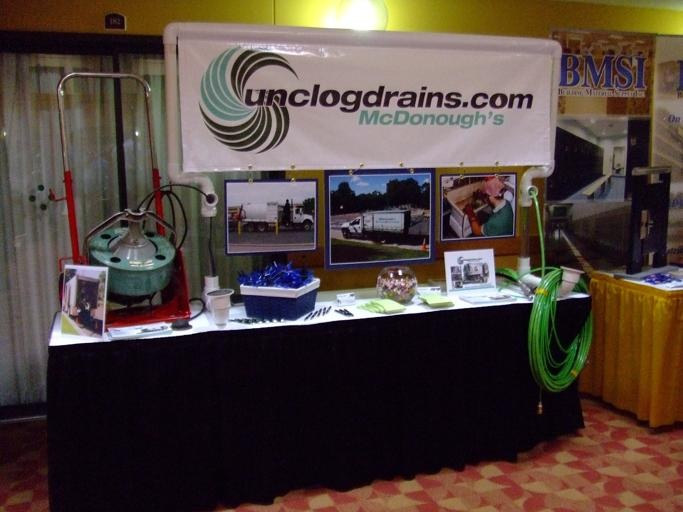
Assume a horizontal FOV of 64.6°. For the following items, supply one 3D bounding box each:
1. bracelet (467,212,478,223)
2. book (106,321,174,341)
[{"bbox_3d":[1.005,-0.301,4.168,0.148,0.057,0.042,13,-1,-29],"label":"bracelet"},{"bbox_3d":[-1.181,0.432,3.158,0.365,0.027,0.209,-5,16,-12],"label":"book"}]
